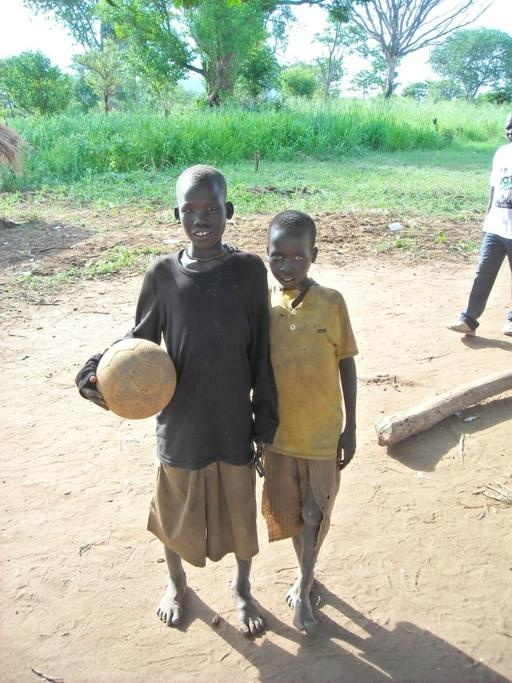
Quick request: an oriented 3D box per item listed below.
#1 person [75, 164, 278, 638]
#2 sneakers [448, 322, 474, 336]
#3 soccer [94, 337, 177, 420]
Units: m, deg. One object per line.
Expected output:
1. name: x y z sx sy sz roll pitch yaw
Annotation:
1. person: -0.205 0.259 2.505 0.568 1.788 0.512 1 22 2
2. sneakers: 1.667 -0.114 5.405 0.181 0.106 0.092 24 20 24
3. soccer: -0.433 0.110 2.355 0.266 0.256 0.228 18 37 11
